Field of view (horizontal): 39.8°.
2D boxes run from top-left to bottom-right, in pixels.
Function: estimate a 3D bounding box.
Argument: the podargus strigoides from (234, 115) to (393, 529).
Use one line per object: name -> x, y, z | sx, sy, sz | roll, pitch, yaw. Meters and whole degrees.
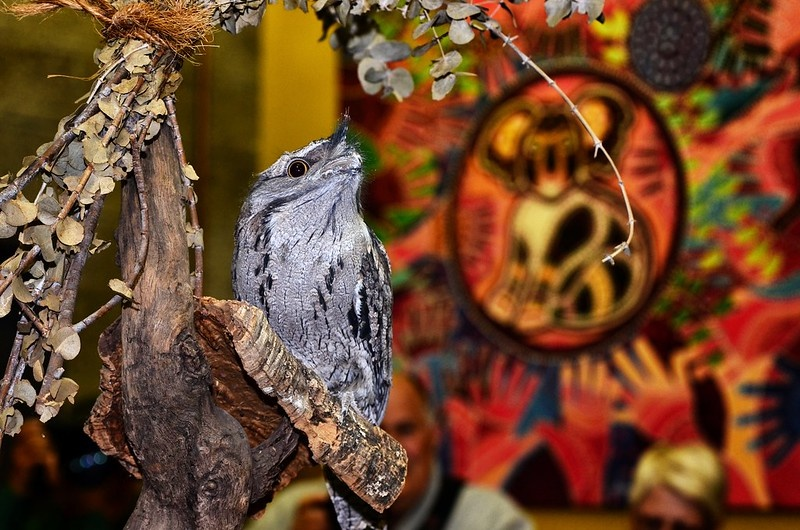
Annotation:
podargus strigoides -> -0.259, 0.206, 4.031 | 0.502, 1.346, 0.623 | 1, 12, 1
